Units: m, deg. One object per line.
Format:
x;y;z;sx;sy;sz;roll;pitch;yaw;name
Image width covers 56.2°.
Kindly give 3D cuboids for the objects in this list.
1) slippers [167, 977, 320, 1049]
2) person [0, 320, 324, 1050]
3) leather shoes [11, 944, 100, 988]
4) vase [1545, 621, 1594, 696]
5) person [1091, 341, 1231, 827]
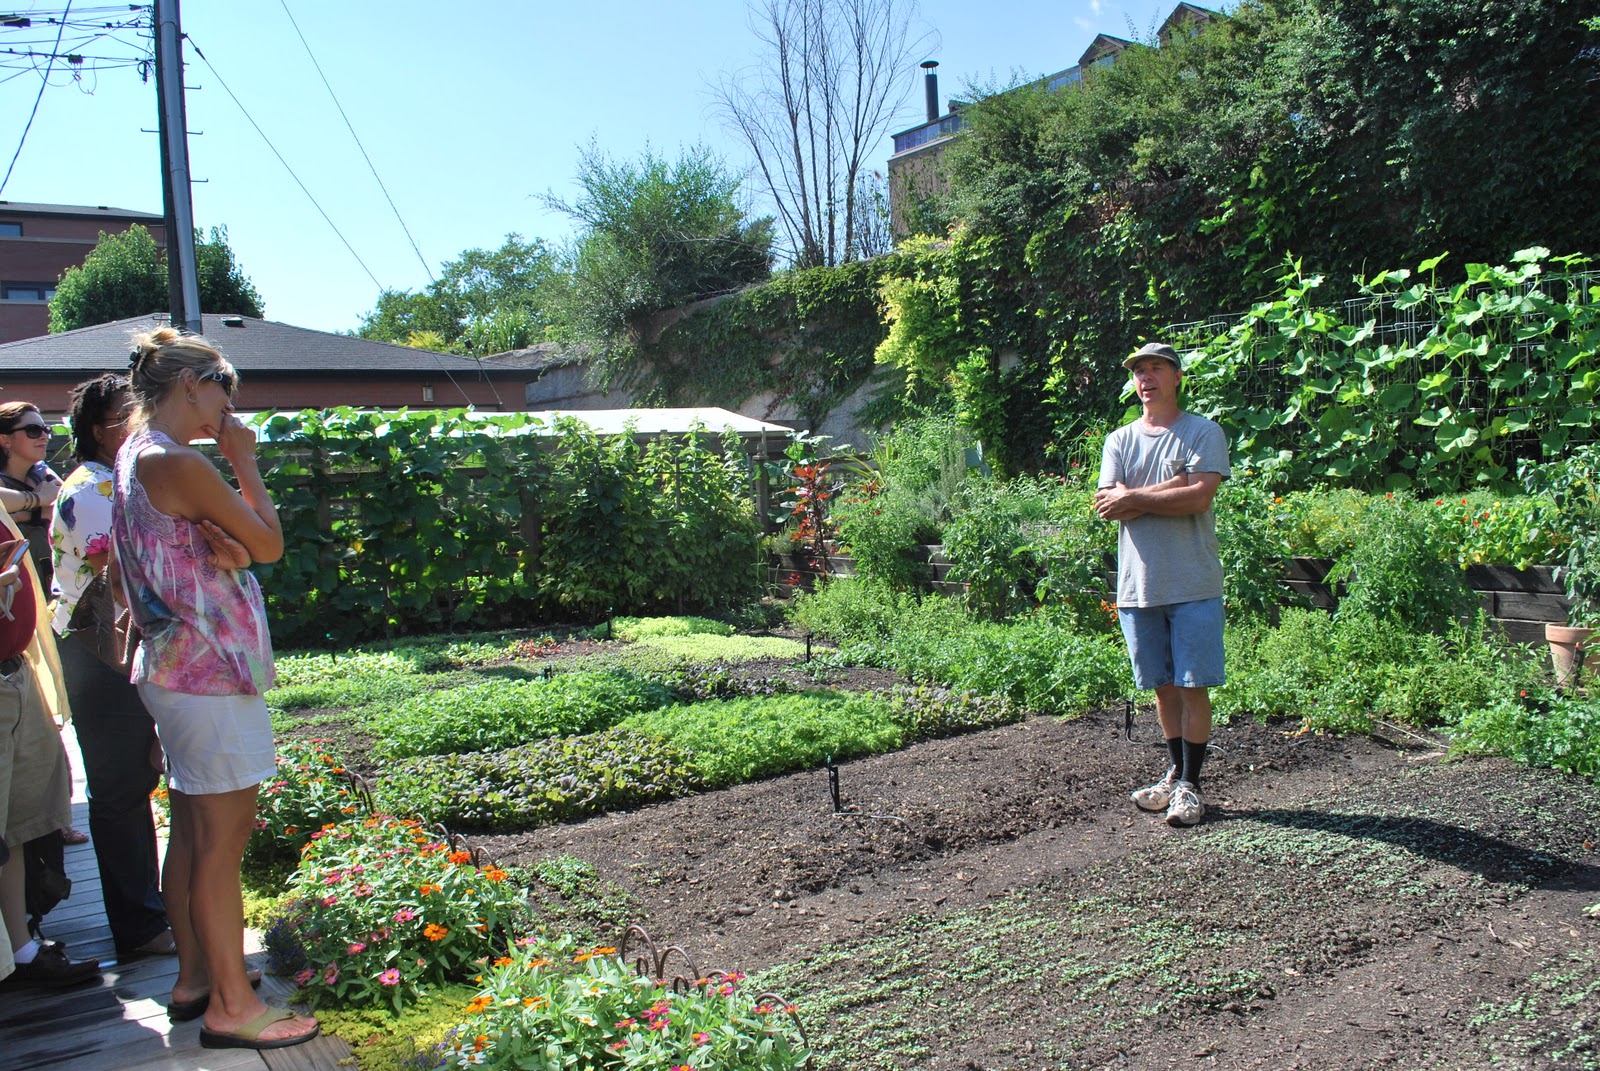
-2.535;2.199;6.835;0.553;0.169;0.310;2;6;4;slippers
-2.625;0.682;6.793;0.683;3.116;1.026;-8;16;-20;person
-3.579;2.092;7.293;0.440;0.170;0.174;1;0;-8;leather shoes
4.741;0.736;9.291;0.337;0.368;0.334;7;-6;-11;vase
2.029;0.237;8.474;0.722;2.505;1.182;0;15;13;person
